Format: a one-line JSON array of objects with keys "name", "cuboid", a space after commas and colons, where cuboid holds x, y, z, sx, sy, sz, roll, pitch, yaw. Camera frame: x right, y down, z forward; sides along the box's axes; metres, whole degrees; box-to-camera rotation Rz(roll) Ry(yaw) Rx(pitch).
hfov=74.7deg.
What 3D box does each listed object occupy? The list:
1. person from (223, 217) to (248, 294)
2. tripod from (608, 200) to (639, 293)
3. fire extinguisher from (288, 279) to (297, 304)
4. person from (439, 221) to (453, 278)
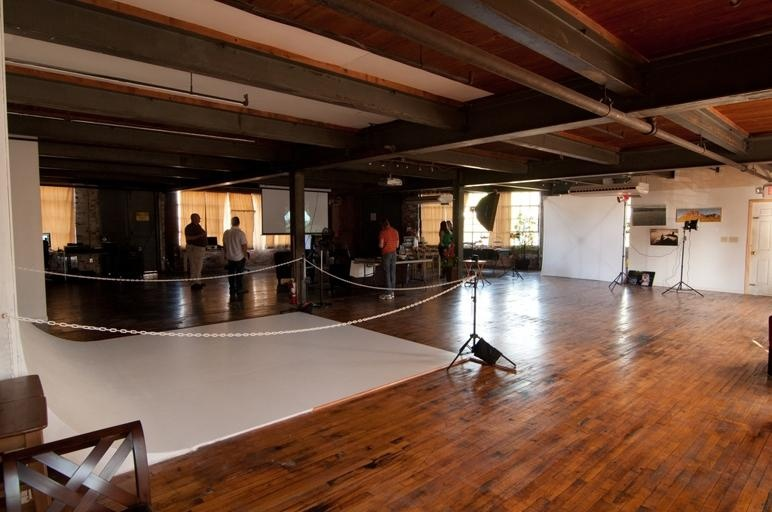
[{"name": "person", "cuboid": [-3.107, 0.041, 10.463, 0.443, 1.675, 1.169, -4, 15, -17]}, {"name": "tripod", "cuboid": [6.046, -0.379, 12.741, 0.380, 2.047, 0.779, 5, 15, 17]}, {"name": "fire extinguisher", "cuboid": [-1.685, 0.681, 9.199, 0.105, 0.410, 0.252, -2, 15, -9]}, {"name": "person", "cuboid": [1.437, -0.102, 12.093, 0.292, 1.448, 0.782, -2, 15, -10]}]
